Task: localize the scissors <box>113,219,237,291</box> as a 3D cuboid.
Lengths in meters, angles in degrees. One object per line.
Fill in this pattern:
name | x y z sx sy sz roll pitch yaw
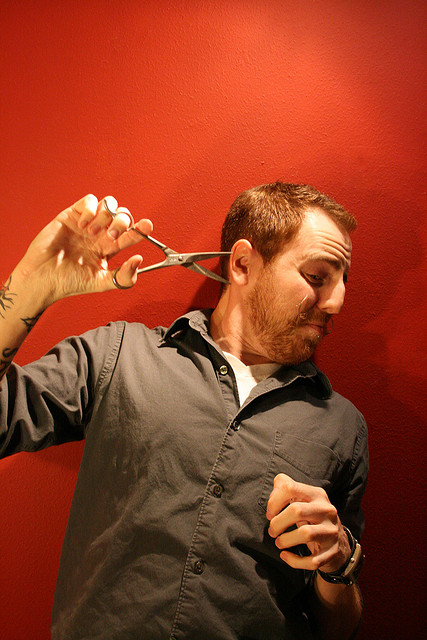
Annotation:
scissors | -0.084 -0.129 1.424 0.314 0.071 0.194 -2 2 17
